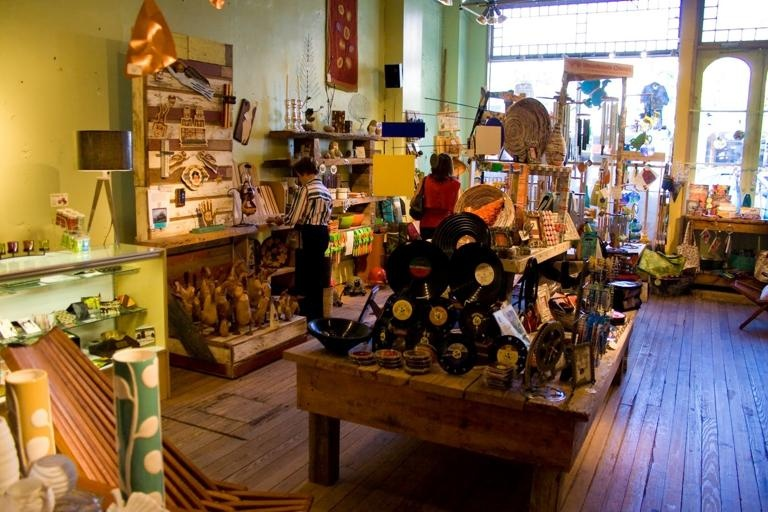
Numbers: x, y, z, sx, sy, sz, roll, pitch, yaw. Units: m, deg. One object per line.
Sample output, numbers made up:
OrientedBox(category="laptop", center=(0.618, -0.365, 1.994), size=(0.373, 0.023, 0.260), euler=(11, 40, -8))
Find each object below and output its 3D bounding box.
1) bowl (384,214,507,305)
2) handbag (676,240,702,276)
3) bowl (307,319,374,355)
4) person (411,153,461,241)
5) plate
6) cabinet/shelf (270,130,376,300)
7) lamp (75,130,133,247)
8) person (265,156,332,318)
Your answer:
OrientedBox(category="bowl", center=(0.446, 0.002, 3.681), size=(0.760, 0.534, 0.578), euler=(2, 13, 15))
OrientedBox(category="handbag", center=(5.102, 0.006, 9.000), size=(0.363, 0.500, 0.756), euler=(6, 15, 29))
OrientedBox(category="bowl", center=(-0.297, 0.543, 3.588), size=(0.419, 0.145, 0.428), euler=(5, 11, -1))
OrientedBox(category="person", center=(0.599, -0.611, 6.520), size=(0.524, 1.452, 0.527), euler=(1, 38, 0))
OrientedBox(category="plate", center=(0.401, 0.483, 3.392), size=(0.724, 0.455, 0.260), euler=(9, -19, 11))
OrientedBox(category="cabinet/shelf", center=(-0.823, -0.581, 6.990), size=(0.582, 2.058, 2.249), euler=(7, 13, 29))
OrientedBox(category="lamp", center=(-2.335, -0.572, 4.468), size=(0.482, 0.834, 0.490), euler=(-6, -11, 15))
OrientedBox(category="person", center=(-0.859, -0.187, 6.202), size=(0.506, 1.861, 0.294), euler=(-2, 13, -5))
